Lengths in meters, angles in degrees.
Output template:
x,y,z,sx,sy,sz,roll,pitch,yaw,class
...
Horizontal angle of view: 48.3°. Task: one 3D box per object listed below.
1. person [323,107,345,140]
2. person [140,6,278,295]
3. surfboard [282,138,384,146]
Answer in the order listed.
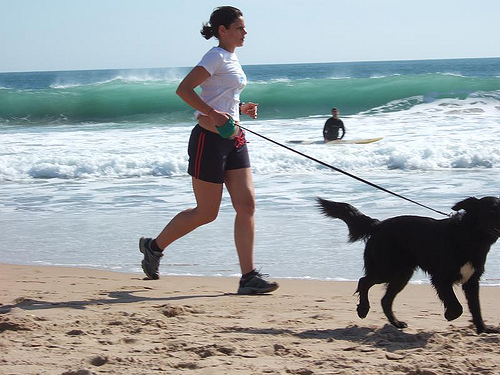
x,y,z,sx,sy,sz,roll,pitch,yaw,class
2.173,-1.513,14.267,0.410,0.571,0.590,2,10,-6,person
-0.271,-0.270,4.479,1.145,2.352,0.698,2,13,-7,person
2.083,-1.189,14.350,2.416,0.223,1.120,3,7,20,surfboard
